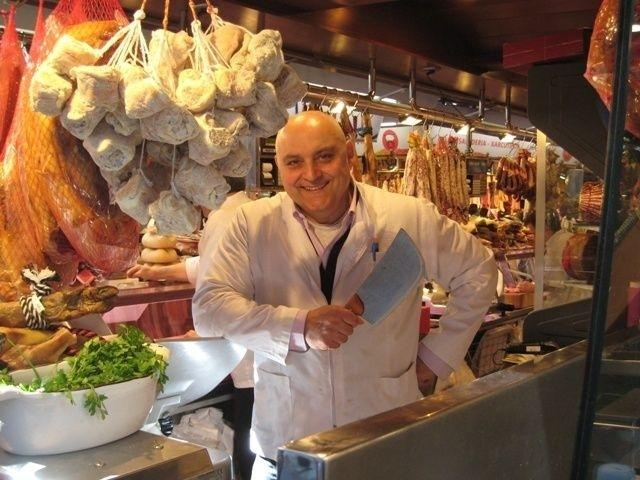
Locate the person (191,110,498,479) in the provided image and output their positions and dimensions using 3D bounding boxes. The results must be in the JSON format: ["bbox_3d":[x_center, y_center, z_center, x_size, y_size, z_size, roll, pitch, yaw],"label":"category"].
[{"bbox_3d":[0.102,0.234,2.037,1.092,1.517,0.662,-4,7,-39],"label":"person"}]

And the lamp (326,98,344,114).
[{"bbox_3d":[0.116,-0.955,3.442,0.071,0.030,0.097,8,-28,-10],"label":"lamp"}]

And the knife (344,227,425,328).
[{"bbox_3d":[0.222,0.114,1.546,0.213,0.295,0.097,1,6,5],"label":"knife"}]

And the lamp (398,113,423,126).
[{"bbox_3d":[0.726,-0.971,3.962,0.113,0.027,0.104,9,-9,-43],"label":"lamp"}]
